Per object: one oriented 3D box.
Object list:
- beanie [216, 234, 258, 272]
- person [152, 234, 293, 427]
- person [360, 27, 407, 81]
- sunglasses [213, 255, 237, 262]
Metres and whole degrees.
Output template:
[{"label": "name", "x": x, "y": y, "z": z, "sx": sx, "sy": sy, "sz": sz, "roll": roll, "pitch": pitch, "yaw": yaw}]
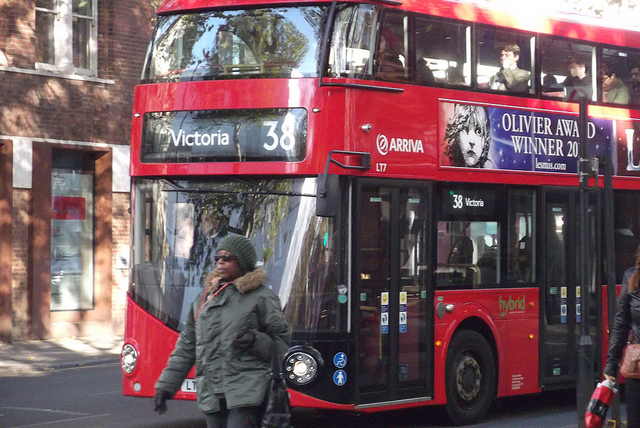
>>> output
[{"label": "beanie", "x": -0.747, "y": 0.344, "z": 7.167, "sx": 0.258, "sy": 0.313, "sz": 0.354, "roll": 0, "pitch": -27, "yaw": 19}, {"label": "person", "x": -0.687, "y": 1.048, "z": 6.924, "sx": 0.839, "sy": 1.584, "sz": 0.419, "roll": 1, "pitch": 0, "yaw": -4}, {"label": "person", "x": 0.862, "y": -2.160, "z": 10.394, "sx": 0.694, "sy": 0.612, "sz": 0.141, "roll": 1, "pitch": -1, "yaw": -40}, {"label": "sunglasses", "x": -0.876, "y": 0.398, "z": 7.087, "sx": 0.107, "sy": 0.054, "sz": 0.278, "roll": 1, "pitch": -1, "yaw": -43}]
